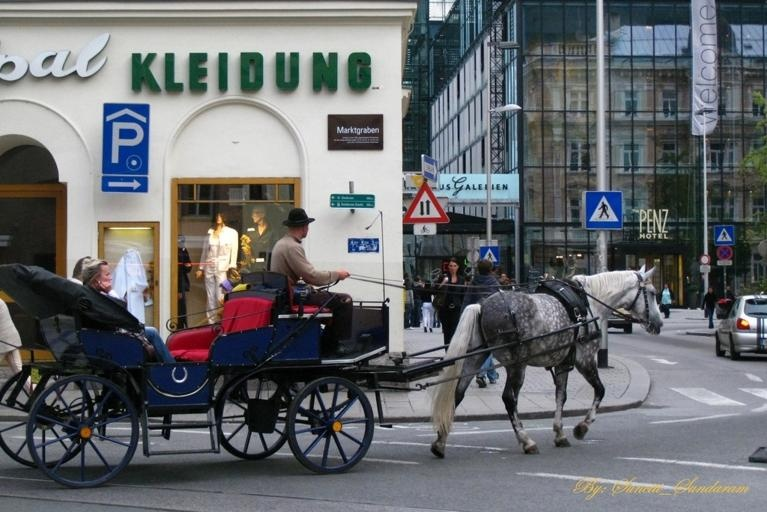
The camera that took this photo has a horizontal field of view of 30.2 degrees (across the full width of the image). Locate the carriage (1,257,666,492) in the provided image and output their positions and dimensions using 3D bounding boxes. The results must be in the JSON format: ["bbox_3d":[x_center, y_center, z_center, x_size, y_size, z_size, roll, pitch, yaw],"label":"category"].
[{"bbox_3d":[0.437,2.238,31.813,18.167,5.368,4.599,-1,0,-12],"label":"carriage"}]

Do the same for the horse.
[{"bbox_3d":[3.559,2.250,31.115,6.156,3.942,1.950,0,-1,-33],"label":"horse"}]

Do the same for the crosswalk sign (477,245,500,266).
[{"bbox_3d":[3.549,-0.112,49.106,0.853,0.680,0.265,1,-6,-9],"label":"crosswalk sign"}]

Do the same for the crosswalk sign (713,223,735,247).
[{"bbox_3d":[14.361,-0.939,60.353,1.401,1.210,0.162,1,-8,-28],"label":"crosswalk sign"}]

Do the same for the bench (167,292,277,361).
[{"bbox_3d":[-3.317,1.489,29.169,1.783,1.255,2.241,-2,2,-38],"label":"bench"}]
